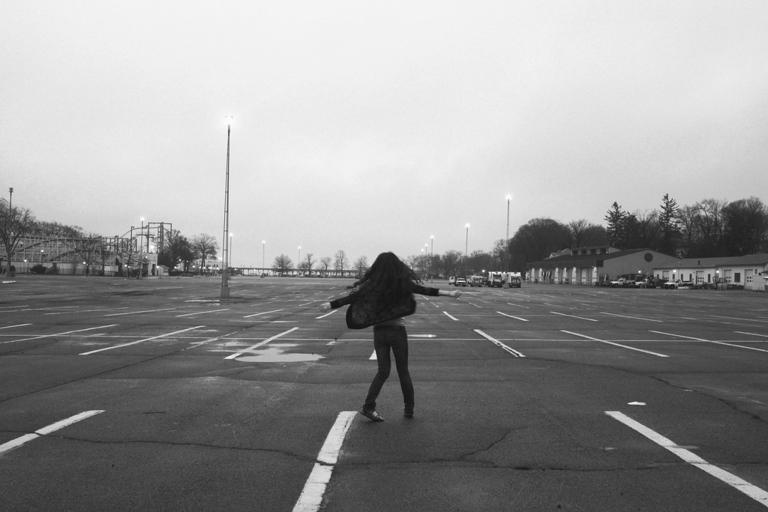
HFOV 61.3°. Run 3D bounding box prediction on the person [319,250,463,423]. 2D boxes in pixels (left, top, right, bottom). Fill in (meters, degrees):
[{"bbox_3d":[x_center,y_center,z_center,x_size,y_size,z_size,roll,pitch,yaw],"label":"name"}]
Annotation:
[{"bbox_3d":[0.030,1.252,10.325,1.375,2.629,0.568,0,6,-6],"label":"person"}]
